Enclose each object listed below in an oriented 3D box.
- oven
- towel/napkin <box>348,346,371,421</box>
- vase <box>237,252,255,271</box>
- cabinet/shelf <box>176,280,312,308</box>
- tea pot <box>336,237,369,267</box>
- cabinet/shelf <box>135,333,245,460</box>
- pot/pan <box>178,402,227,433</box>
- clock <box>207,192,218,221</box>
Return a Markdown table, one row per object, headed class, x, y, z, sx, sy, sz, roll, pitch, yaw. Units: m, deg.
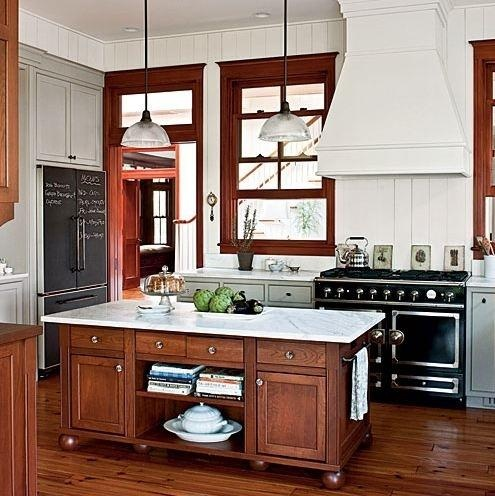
| class | x | y | z | sx | sy | sz | roll | pitch | yaw |
| --- | --- | --- | --- | --- | --- | --- | --- | --- | --- |
| oven | 1.376 | 0.658 | 4.315 | 1.161 | 0.807 | 0.664 | 0 | -1 | 17 |
| towel/napkin | 0.602 | 0.777 | 2.703 | 0.098 | 0.439 | 0.333 | 0 | -2 | 12 |
| vase | -0.020 | 0.138 | 4.939 | 0.183 | 0.188 | 0.178 | 0 | -1 | 2 |
| cabinet/shelf | 0.010 | 0.420 | 4.572 | 1.208 | 0.226 | 0.109 | 0 | -2 | 20 |
| tea pot | 0.989 | 0.040 | 4.746 | 0.321 | 0.303 | 0.255 | 0 | -2 | 10 |
| cabinet/shelf | -0.290 | 0.814 | 2.809 | 0.754 | 0.698 | 0.288 | -1 | -4 | 24 |
| pot/pan | -0.263 | 0.994 | 2.854 | 0.190 | 0.097 | 0.140 | 0 | -1 | 14 |
| clock | -0.392 | -0.435 | 5.281 | 0.130 | 0.314 | 0.091 | 0 | -2 | 9 |
